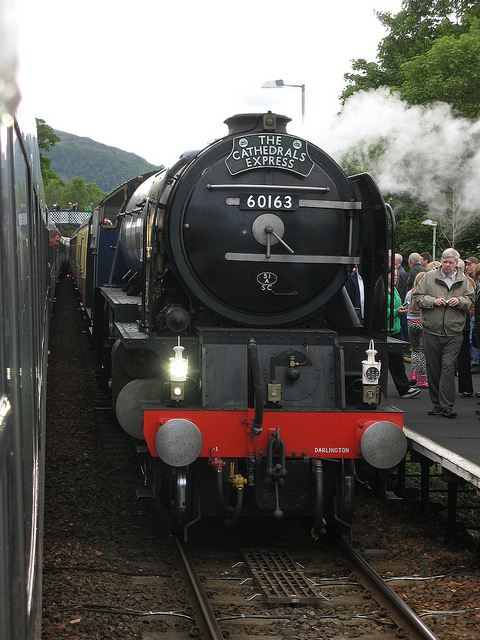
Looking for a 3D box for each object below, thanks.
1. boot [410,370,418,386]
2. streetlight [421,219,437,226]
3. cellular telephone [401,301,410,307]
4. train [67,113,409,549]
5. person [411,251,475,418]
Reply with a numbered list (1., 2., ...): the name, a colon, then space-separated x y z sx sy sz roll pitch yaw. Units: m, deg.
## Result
1. boot: 3.100 1.052 9.354 0.115 0.243 0.220 2 0 20
2. streetlight: 9.418 -4.852 26.294 0.634 0.349 0.898 1 4 1
3. cellular telephone: 2.831 -0.258 8.930 0.093 0.085 0.200 2 0 29
4. train: -0.442 0.033 5.799 2.315 4.002 4.505 2 0 -42
5. person: 2.741 0.200 7.117 0.749 1.945 0.489 2 0 23
